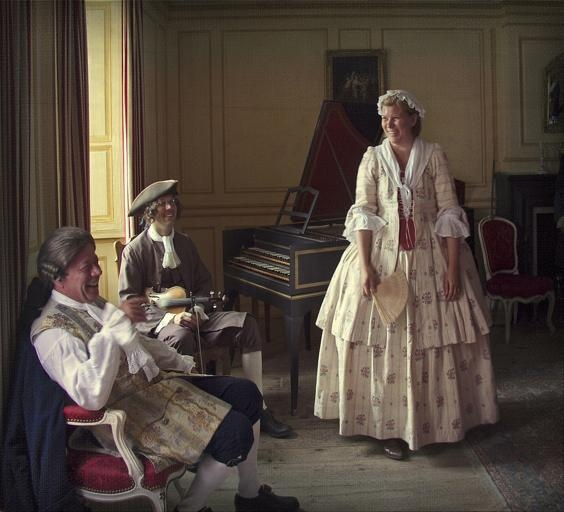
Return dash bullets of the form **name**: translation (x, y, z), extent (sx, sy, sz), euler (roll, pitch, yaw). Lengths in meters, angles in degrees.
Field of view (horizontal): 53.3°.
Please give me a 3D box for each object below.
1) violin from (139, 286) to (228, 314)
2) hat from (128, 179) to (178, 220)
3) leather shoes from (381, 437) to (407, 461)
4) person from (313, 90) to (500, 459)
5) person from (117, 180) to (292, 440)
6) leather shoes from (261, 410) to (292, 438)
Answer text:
- **violin**: translation (-0.483, 0.238, 2.982), extent (0.354, 0.137, 0.194), euler (4, -1, -31)
- **hat**: translation (-0.690, -0.308, 3.029), extent (0.245, 0.183, 0.182), euler (-2, 9, -5)
- **leather shoes**: translation (0.587, 0.997, 2.890), extent (0.058, 0.104, 0.146), euler (-1, -30, -1)
- **person**: translation (0.650, 0.113, 2.867), extent (0.939, 1.856, 0.445), euler (-2, 8, -5)
- **person**: translation (-0.458, 0.261, 2.977), extent (0.754, 1.584, 0.564), euler (-14, -7, 37)
- **leather shoes**: translation (-0.062, 0.942, 3.137), extent (0.224, 0.125, 0.089), euler (1, 1, 31)
